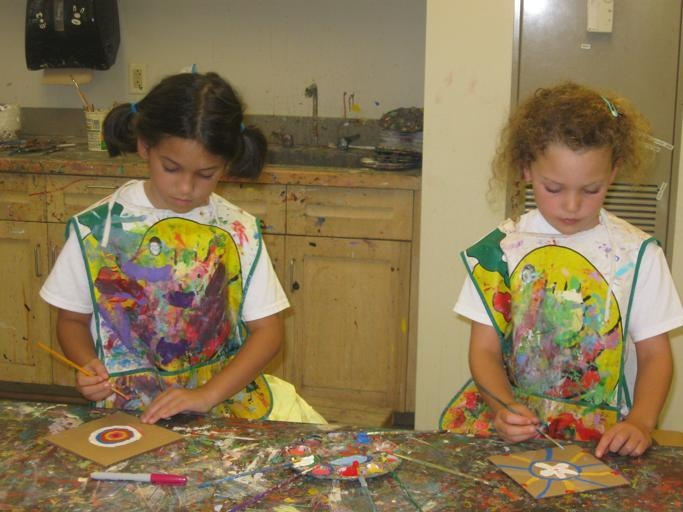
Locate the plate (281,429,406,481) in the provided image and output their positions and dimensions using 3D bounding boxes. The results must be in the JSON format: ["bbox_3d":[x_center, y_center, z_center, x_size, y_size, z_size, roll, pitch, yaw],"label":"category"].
[{"bbox_3d":[-0.001,0.350,1.166,0.197,0.190,0.018,19,40,-27],"label":"plate"}]

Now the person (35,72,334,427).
[{"bbox_3d":[-0.375,-0.013,1.520,0.518,0.812,0.500,-6,11,-38],"label":"person"}]
